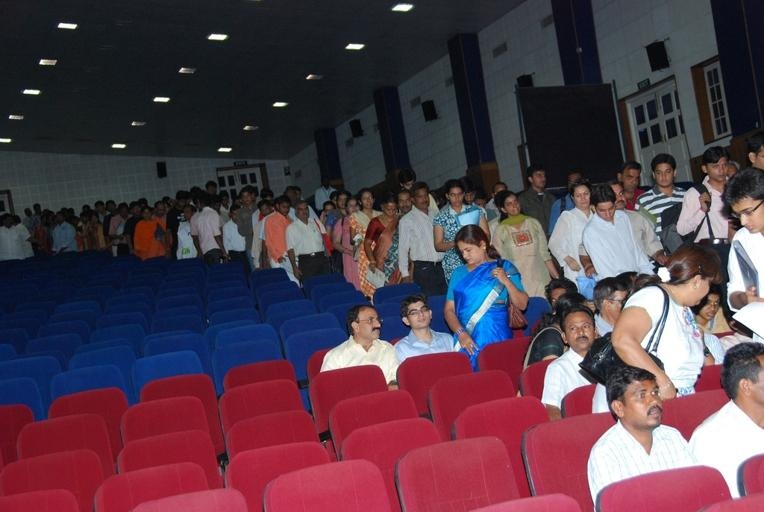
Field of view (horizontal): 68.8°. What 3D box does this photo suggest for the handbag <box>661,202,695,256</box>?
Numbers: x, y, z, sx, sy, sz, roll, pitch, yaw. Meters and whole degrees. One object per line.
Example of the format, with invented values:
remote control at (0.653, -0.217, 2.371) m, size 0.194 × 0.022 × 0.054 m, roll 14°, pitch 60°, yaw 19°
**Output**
handbag at (2.687, -0.249, 5.050) m, size 0.155 × 0.462 × 0.353 m, roll 11°, pitch 5°, yaw -12°
